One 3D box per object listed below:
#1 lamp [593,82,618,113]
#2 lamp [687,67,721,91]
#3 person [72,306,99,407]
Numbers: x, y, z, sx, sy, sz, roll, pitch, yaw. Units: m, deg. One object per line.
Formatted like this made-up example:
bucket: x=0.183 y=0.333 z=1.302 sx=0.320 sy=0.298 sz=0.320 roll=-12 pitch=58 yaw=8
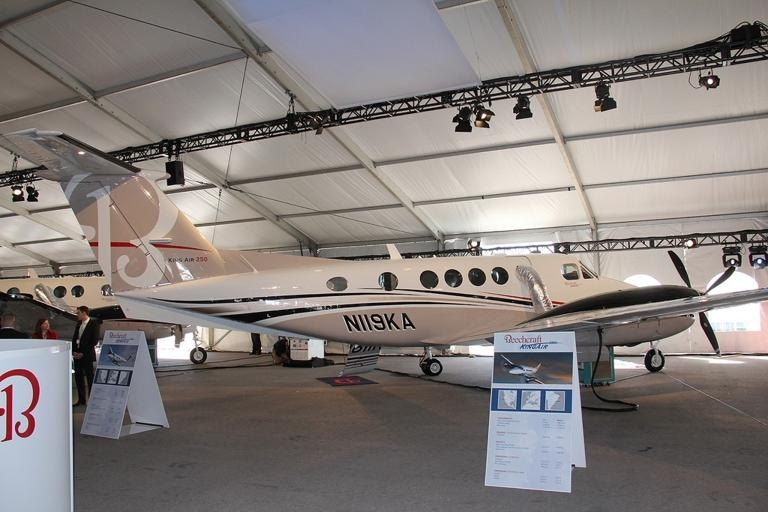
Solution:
lamp: x=5.655 y=-4.061 z=12.694 sx=0.429 sy=0.781 sz=0.744 roll=-4 pitch=-3 yaw=23
lamp: x=8.251 y=-4.594 z=12.755 sx=0.690 sy=0.508 sz=0.962 roll=-11 pitch=18 yaw=-27
person: x=-6.466 y=2.213 z=10.810 sx=0.477 sy=2.198 sz=0.960 roll=-1 pitch=-3 yaw=-30
